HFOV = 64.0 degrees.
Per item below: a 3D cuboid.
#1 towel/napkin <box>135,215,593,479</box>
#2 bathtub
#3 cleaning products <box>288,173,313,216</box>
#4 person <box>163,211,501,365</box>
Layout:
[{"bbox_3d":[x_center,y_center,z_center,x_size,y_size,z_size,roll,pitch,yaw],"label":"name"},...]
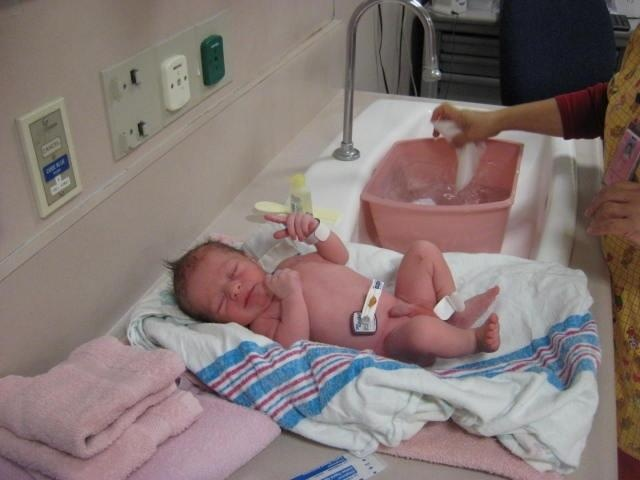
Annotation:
[{"bbox_3d":[0.129,0.258,0.987,0.639,0.105,0.513,8,39,15],"label":"towel/napkin"},{"bbox_3d":[0.420,-0.113,1.743,0.643,0.261,0.613,7,50,17],"label":"bathtub"},{"bbox_3d":[-0.048,-0.109,1.406,0.064,0.110,0.168,-5,30,-3],"label":"cleaning products"},{"bbox_3d":[0.032,0.136,1.294,0.724,0.356,0.357,5,30,11],"label":"person"}]
